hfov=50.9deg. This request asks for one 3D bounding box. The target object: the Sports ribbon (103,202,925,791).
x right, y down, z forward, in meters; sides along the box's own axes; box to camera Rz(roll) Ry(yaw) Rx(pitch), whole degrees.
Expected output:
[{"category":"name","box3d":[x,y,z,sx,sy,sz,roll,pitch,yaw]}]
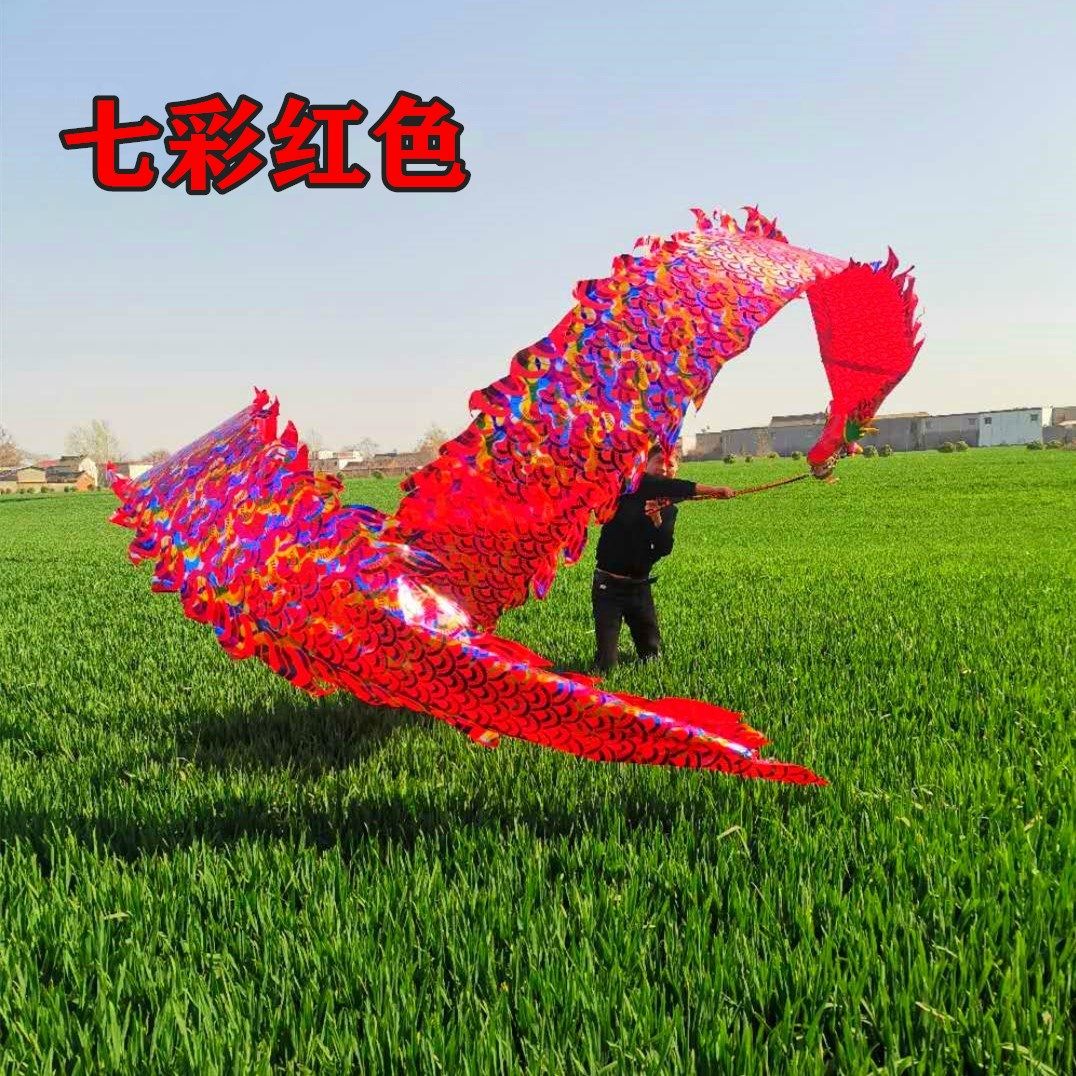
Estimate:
[{"category":"Sports ribbon","box3d":[0.158,-0.295,4.698,3.576,2.222,2.027,-5,11,-20]}]

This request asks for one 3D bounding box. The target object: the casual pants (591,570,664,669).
[{"category":"casual pants","box3d":[0.610,0.502,7.337,0.448,0.687,0.366,-3,15,-8]}]

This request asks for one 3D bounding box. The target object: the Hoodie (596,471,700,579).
[{"category":"Hoodie","box3d":[0.791,-0.062,6.902,0.749,0.690,0.468,13,23,34]}]
